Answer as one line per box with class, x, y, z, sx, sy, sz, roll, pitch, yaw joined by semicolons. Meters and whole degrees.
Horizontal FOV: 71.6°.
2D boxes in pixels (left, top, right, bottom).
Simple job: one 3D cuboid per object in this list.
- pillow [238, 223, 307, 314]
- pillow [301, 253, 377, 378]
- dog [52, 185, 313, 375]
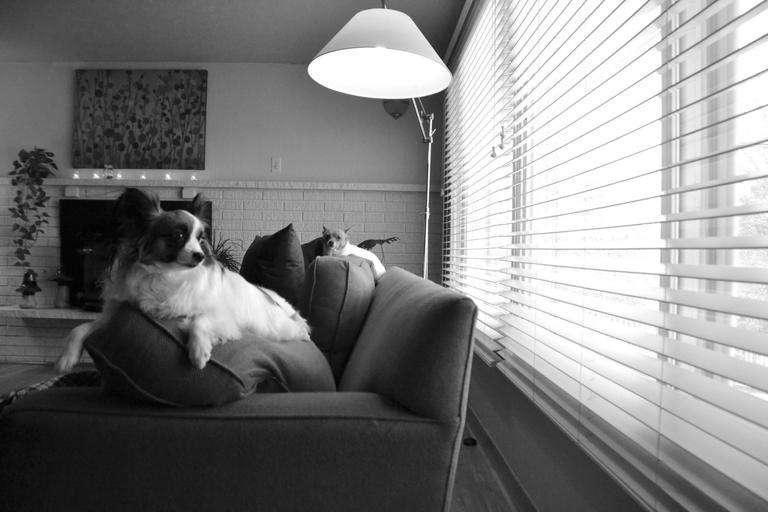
pillow;-0.563;0.051;2.718;0.283;0.452;0.541;2;-6;-33
pillow;-0.174;0.246;2.048;0.199;0.369;0.396;10;9;-3
dog;-0.595;0.104;1.750;0.494;0.346;0.702;4;-7;18
